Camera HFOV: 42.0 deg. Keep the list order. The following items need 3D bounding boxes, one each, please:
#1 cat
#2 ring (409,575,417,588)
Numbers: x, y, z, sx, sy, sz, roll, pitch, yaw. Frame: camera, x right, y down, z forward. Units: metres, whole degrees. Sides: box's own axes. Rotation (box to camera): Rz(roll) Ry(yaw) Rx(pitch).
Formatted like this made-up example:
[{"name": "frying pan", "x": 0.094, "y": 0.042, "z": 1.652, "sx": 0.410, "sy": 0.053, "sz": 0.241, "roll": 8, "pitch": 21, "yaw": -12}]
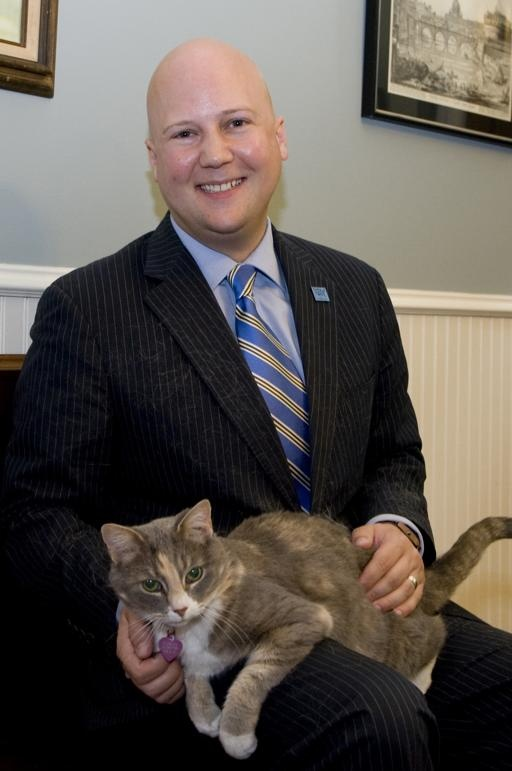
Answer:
[{"name": "cat", "x": 0.101, "y": 0.357, "z": 1.165, "sx": 0.808, "sy": 0.347, "sz": 0.246, "roll": 1, "pitch": -20, "yaw": -43}, {"name": "ring", "x": 0.284, "y": 0.353, "z": 1.209, "sx": 0.017, "sy": 0.022, "sz": 0.022, "roll": 8, "pitch": -20, "yaw": 4}]
